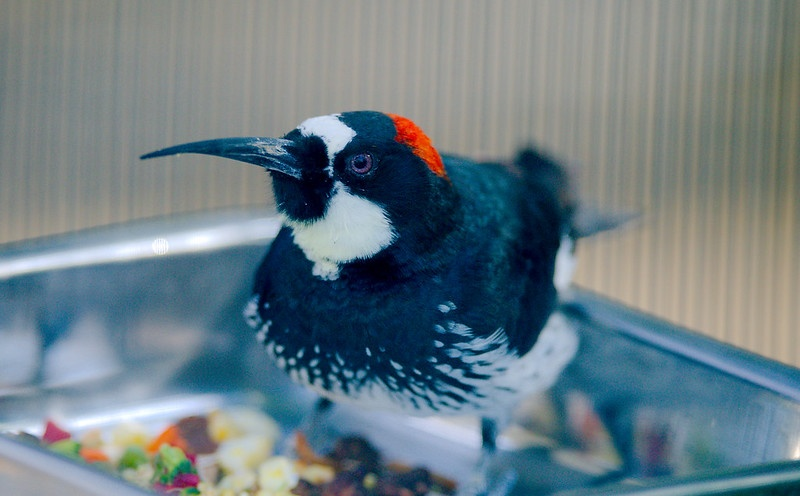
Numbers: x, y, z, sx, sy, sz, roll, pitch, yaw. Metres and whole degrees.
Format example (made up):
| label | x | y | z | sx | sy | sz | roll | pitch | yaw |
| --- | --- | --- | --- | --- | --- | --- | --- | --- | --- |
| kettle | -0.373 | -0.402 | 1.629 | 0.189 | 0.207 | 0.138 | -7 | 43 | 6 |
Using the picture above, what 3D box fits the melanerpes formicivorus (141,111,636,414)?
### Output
| label | x | y | z | sx | sy | sz | roll | pitch | yaw |
| --- | --- | --- | --- | --- | --- | --- | --- | --- | --- |
| melanerpes formicivorus | 0.046 | 0.033 | 2.028 | 0.575 | 0.617 | 0.918 | 8 | 21 | 40 |
